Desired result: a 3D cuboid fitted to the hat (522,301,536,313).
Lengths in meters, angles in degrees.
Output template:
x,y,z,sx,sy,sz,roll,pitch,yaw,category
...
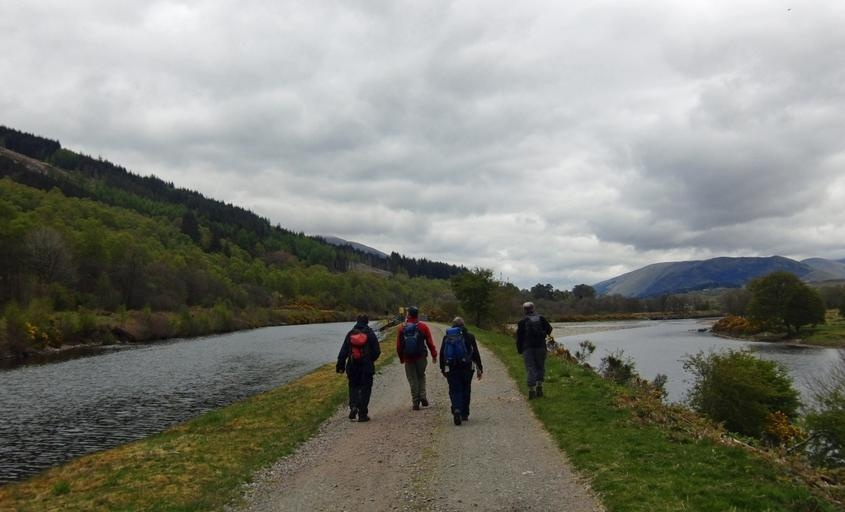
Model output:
x,y,z,sx,sy,sz,roll,pitch,yaw,category
6.947,3.380,38.330,0.750,0.908,0.925,3,6,7,hat
